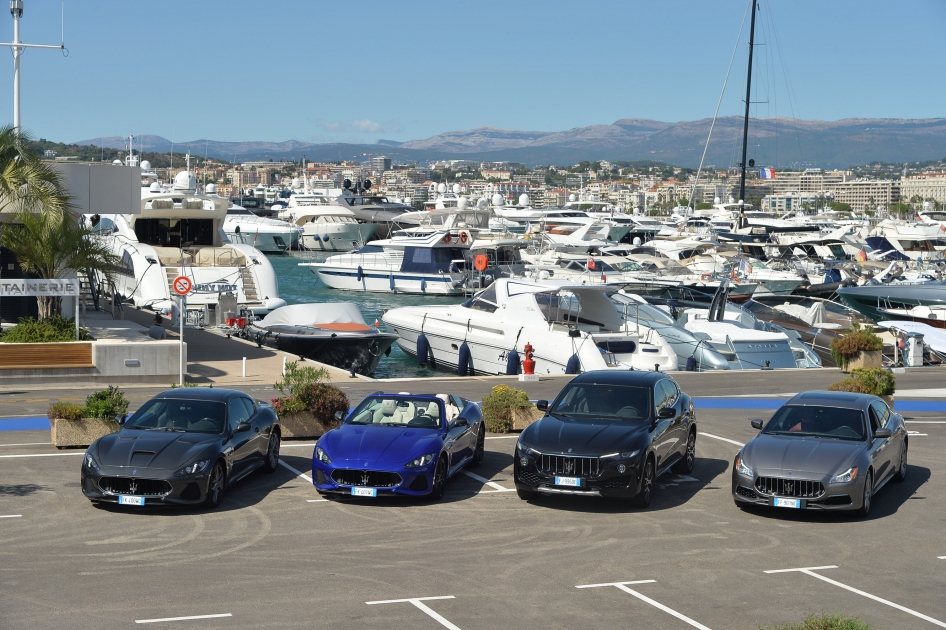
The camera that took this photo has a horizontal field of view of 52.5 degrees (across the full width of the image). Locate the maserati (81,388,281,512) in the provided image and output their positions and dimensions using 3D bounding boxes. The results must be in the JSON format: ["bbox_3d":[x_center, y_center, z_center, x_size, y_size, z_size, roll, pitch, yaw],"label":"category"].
[{"bbox_3d":[-5.099,2.333,17.088,2.056,1.684,3.263,6,9,30],"label":"maserati"}]

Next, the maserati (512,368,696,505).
[{"bbox_3d":[2.436,2.250,17.734,2.181,2.062,3.444,6,9,32],"label":"maserati"}]

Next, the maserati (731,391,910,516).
[{"bbox_3d":[6.209,2.486,17.186,2.035,1.787,3.431,8,10,40],"label":"maserati"}]

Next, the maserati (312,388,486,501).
[{"bbox_3d":[-1.289,2.377,17.607,1.959,1.587,3.253,7,9,35],"label":"maserati"}]
